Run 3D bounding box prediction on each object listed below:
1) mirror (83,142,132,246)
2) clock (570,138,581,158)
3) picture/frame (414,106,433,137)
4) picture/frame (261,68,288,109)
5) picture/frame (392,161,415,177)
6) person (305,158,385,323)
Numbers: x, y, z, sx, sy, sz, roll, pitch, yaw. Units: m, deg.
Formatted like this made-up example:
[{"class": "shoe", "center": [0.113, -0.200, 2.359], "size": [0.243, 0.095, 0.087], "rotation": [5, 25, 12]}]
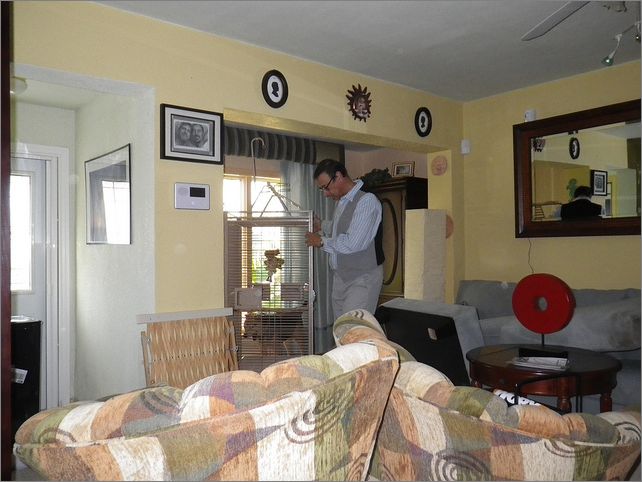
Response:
[{"class": "mirror", "center": [-1.747, -0.337, 4.129], "size": [0.047, 0.838, 1.018], "rotation": [-2, 0, -41]}, {"class": "clock", "center": [2.282, -0.829, 4.567], "size": [0.032, 0.185, 0.172], "rotation": [-1, -1, -13]}, {"class": "picture/frame", "center": [0.987, -1.167, 4.971], "size": [0.024, 0.251, 0.235], "rotation": [4, 26, 47]}, {"class": "picture/frame", "center": [-0.375, -1.186, 3.972], "size": [0.041, 0.347, 0.321], "rotation": [-2, -2, 43]}, {"class": "picture/frame", "center": [1.090, -0.935, 6.672], "size": [0.021, 0.223, 0.288], "rotation": [19, -11, -34]}, {"class": "person", "center": [0.197, -0.013, 3.942], "size": [0.520, 1.202, 0.426], "rotation": [-2, 0, 21]}]
